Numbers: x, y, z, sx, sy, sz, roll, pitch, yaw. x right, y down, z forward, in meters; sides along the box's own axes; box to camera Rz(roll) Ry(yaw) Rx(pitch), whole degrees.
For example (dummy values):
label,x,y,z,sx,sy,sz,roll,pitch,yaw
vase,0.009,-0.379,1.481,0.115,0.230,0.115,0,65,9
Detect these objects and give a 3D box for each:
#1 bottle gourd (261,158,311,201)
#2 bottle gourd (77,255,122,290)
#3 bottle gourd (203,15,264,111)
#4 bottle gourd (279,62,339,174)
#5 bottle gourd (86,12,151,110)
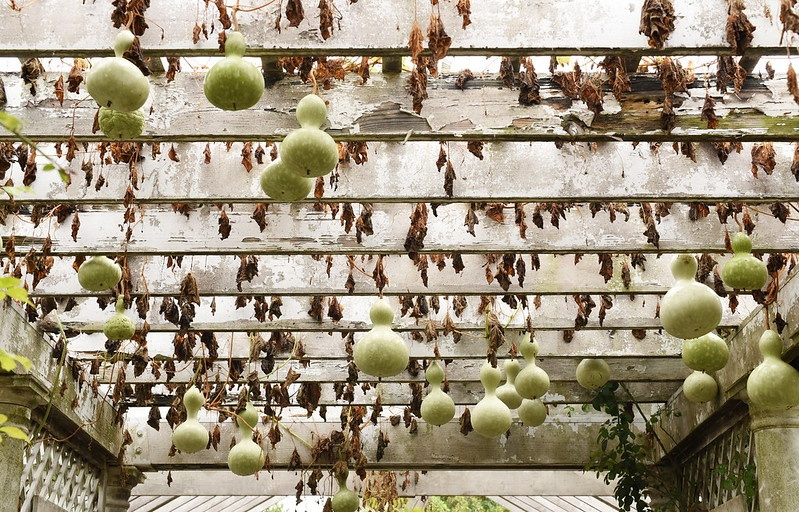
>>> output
label,x,y,z,sx,sy,sz,roll,pitch,yaw
bottle gourd,-0.783,-0.509,10.748,0.270,0.384,0.292,-12,-61,8
bottle gourd,-2.290,0.119,11.659,0.255,0.260,0.268,0,-32,-25
bottle gourd,-1.138,-1.227,10.420,0.375,0.553,0.398,-9,-16,29
bottle gourd,-0.611,-0.830,10.634,0.357,0.614,0.392,-12,-12,-1
bottle gourd,-1.920,-1.252,10.394,0.353,0.505,0.368,10,-9,7
